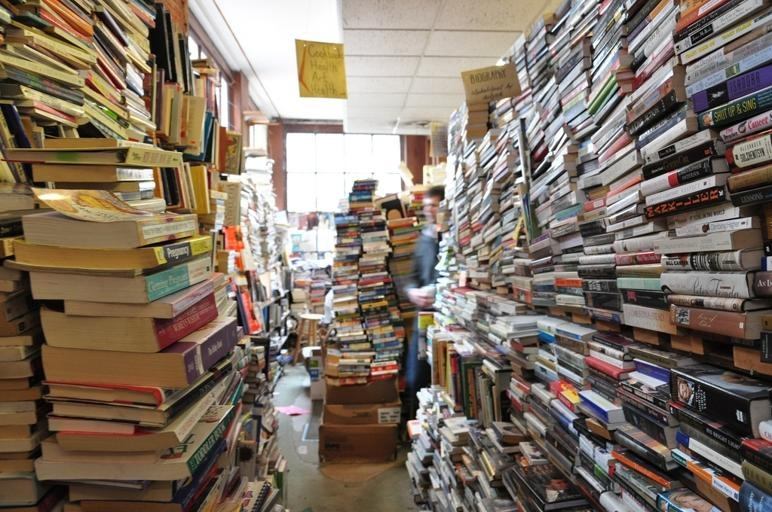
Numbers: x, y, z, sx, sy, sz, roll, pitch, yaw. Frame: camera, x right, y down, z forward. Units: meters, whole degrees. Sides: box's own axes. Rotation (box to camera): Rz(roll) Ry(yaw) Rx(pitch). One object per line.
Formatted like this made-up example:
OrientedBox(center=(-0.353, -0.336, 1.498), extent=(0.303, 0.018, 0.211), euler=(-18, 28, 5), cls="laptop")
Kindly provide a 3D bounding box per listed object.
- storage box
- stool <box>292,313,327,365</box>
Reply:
OrientedBox(center=(-0.166, 1.247, 3.982), extent=(0.687, 0.332, 0.608), euler=(-1, 7, 0), cls="storage box")
OrientedBox(center=(-0.935, 1.140, 6.718), extent=(0.497, 0.493, 0.422), euler=(-11, -38, 5), cls="stool")
